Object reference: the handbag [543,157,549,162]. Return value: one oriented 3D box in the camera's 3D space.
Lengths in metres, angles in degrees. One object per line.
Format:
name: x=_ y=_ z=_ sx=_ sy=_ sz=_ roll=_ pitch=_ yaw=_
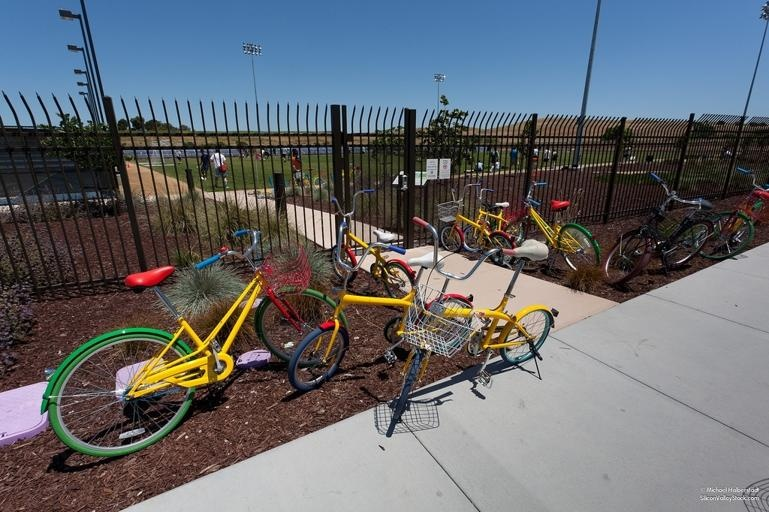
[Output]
handbag: x=3.597 y=-2.183 z=10.438 sx=0.088 sy=0.087 sz=0.146 roll=24 pitch=34 yaw=21
